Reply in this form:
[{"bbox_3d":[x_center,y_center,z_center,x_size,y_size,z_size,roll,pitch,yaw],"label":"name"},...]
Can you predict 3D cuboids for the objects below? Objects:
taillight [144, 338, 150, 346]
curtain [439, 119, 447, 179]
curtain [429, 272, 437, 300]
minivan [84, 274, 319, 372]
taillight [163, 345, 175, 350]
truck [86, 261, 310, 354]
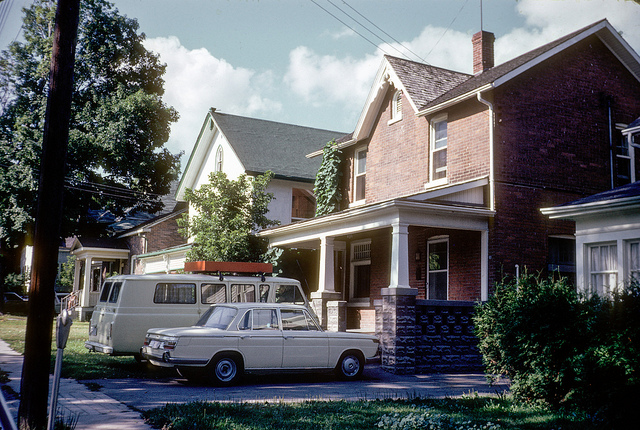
[{"bbox_3d":[-4.643,3.386,15.672,0.157,0.167,0.038,1,-7,40],"label":"taillight"},{"bbox_3d":[4.530,-2.454,21.536,0.150,2.165,0.606,5,-13,-12],"label":"curtain"},{"bbox_3d":[4.134,2.563,21.342,0.149,0.919,0.432,8,-14,-24],"label":"curtain"},{"bbox_3d":[-3.433,3.539,18.875,7.138,2.804,2.421,4,-18,-27],"label":"minivan"},{"bbox_3d":[-3.822,3.341,14.835,0.369,0.105,0.046,-10,-18,40],"label":"taillight"},{"bbox_3d":[-3.309,3.095,18.772,6.633,3.194,2.261,3,-7,-24],"label":"truck"}]
